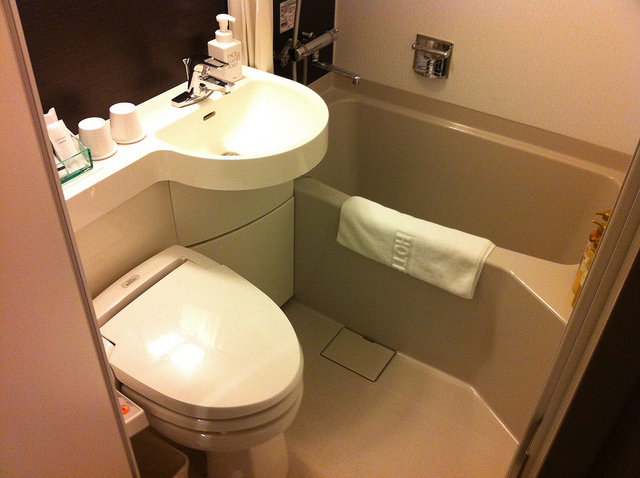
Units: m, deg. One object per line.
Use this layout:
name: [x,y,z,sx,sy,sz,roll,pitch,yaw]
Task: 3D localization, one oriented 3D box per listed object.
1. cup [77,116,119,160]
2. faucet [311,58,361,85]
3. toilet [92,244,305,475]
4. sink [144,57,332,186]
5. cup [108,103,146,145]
cup: [-0.560,-0.254,1.239,0.073,0.097,0.093,-5,21,-8]
faucet: [0.067,-0.714,2.112,0.233,0.090,0.050,35,66,20]
toilet: [-0.308,0.288,1.280,0.552,0.224,0.411,27,43,27]
sink: [-0.233,-0.356,1.420,0.473,0.252,0.524,-16,41,-25]
cup: [-0.508,-0.304,1.292,0.079,0.085,0.085,4,32,-3]
